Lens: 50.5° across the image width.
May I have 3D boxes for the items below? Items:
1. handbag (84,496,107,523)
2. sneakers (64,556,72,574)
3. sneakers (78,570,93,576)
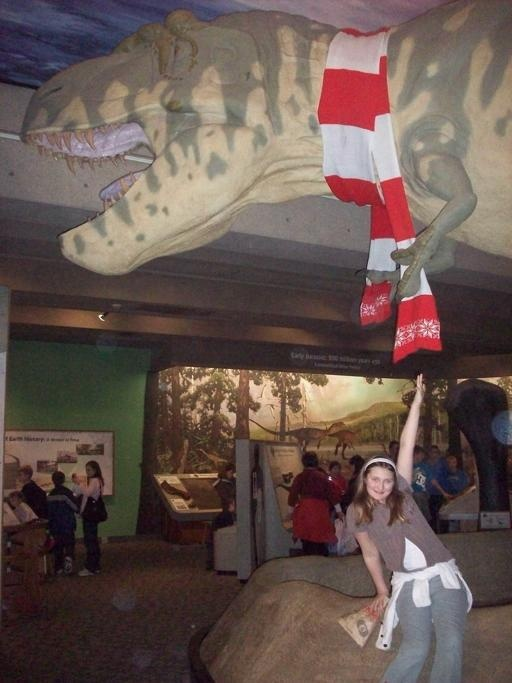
[{"bbox_3d":[-1.871,1.943,6.288,0.137,0.290,0.266,-9,-15,29],"label":"handbag"},{"bbox_3d":[-2.192,2.612,6.339,0.111,0.184,0.125,1,2,-3],"label":"sneakers"},{"bbox_3d":[-1.949,2.623,6.195,0.146,0.058,0.243,4,-13,-22],"label":"sneakers"}]
